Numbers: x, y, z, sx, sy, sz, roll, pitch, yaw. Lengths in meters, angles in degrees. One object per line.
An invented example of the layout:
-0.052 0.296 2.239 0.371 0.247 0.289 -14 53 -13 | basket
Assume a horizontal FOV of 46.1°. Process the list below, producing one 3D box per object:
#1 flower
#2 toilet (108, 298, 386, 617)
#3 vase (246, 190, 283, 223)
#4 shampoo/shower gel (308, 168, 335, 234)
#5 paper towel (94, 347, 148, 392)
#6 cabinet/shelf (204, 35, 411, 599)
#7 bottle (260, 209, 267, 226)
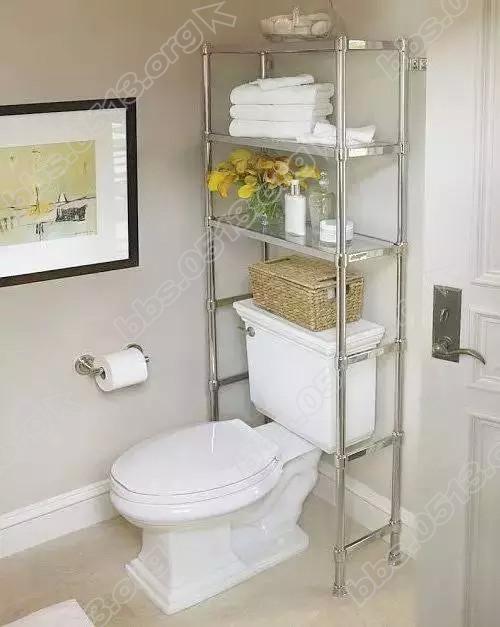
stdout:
0.043 -0.413 1.801 0.289 0.175 0.281 -6 15 -31 | flower
-0.050 0.435 1.869 0.853 0.780 0.482 -9 18 -34 | toilet
0.049 -0.336 1.895 0.107 0.104 0.107 4 24 8 | vase
0.212 -0.322 1.716 0.071 0.179 0.152 1 14 8 | shampoo/shower gel
-0.410 0.174 1.961 0.169 0.117 0.118 -12 14 -36 | paper towel
0.164 -0.036 1.906 0.432 1.628 0.820 -9 16 -29 | cabinet/shelf
0.045 -0.307 1.877 0.028 0.049 0.027 1 18 0 | bottle
